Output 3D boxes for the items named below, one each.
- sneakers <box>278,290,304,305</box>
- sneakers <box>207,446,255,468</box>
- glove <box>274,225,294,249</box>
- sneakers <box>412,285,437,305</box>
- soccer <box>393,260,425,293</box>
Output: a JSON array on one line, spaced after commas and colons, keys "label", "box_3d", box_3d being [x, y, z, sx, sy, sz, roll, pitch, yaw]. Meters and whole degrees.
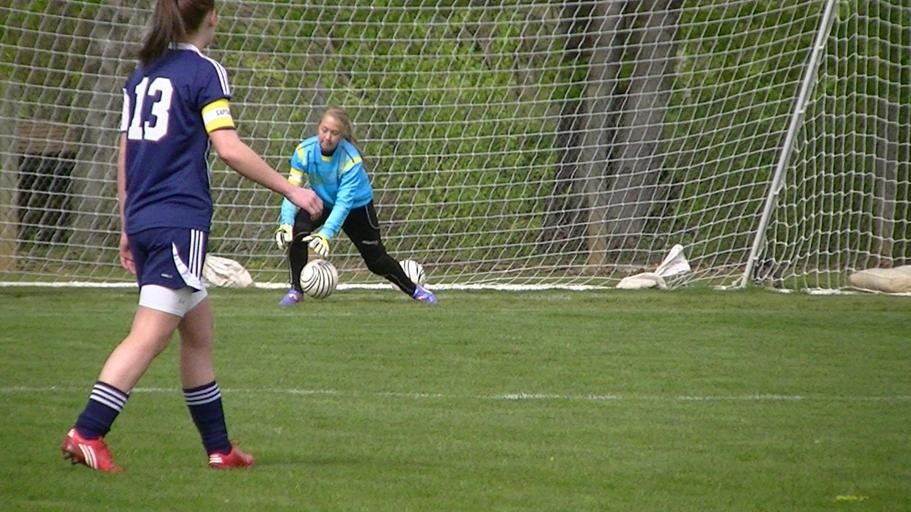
[{"label": "sneakers", "box_3d": [-1.680, 0.431, 9.466, 0.128, 0.090, 0.253, 5, 4, 33]}, {"label": "sneakers", "box_3d": [-1.445, 1.304, 5.963, 0.287, 0.112, 0.121, -3, -1, -8]}, {"label": "glove", "box_3d": [-1.619, -0.175, 9.021, 0.115, 0.233, 0.228, 7, -3, -35]}, {"label": "sneakers", "box_3d": [-0.315, 0.424, 9.687, 0.322, 0.111, 0.125, 27, -3, 28]}, {"label": "soccer", "box_3d": [-0.526, 0.180, 9.877, 0.275, 0.293, 0.301, -11, -9, -2]}]
